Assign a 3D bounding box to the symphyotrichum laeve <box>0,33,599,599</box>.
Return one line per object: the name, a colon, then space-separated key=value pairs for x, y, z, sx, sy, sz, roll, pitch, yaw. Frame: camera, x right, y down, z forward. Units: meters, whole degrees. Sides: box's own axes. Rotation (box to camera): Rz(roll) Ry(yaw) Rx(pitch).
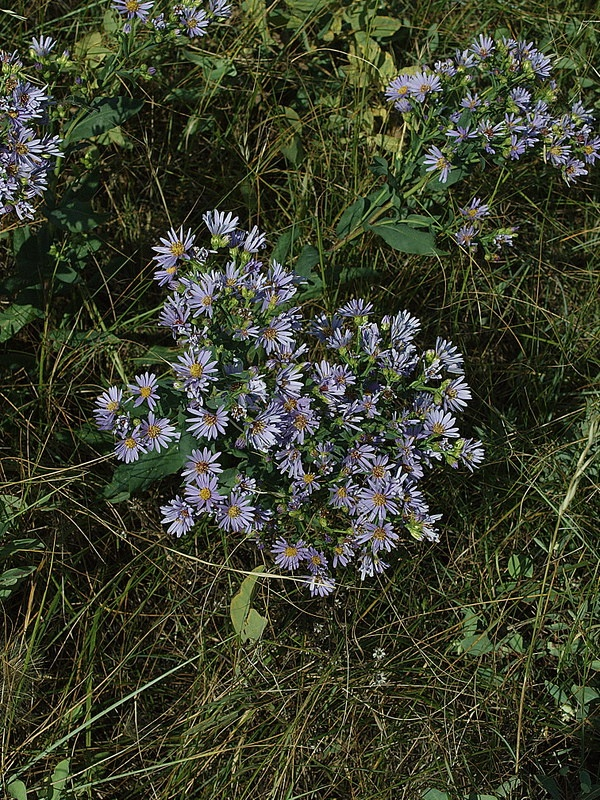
symphyotrichum laeve: x=0.262 y=-0.387 z=2.635 sx=1.908 sy=1.000 sz=1.849 roll=3 pitch=81 yaw=11
